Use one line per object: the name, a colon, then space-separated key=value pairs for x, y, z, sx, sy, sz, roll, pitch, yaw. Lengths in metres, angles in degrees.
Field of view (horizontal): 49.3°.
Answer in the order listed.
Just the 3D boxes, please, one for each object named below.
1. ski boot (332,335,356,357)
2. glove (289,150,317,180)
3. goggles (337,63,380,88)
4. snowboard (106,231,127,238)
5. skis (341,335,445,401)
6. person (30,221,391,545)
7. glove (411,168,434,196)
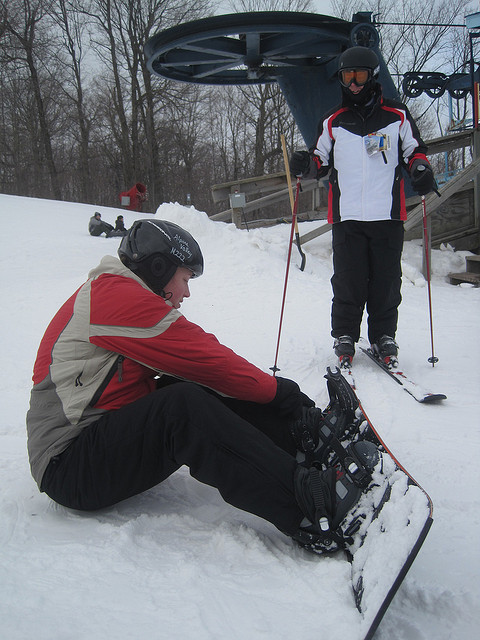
ski boot: x=0.619 y=0.154 z=3.078 sx=0.117 sy=0.125 sz=0.133 roll=2 pitch=12 yaw=10
glove: x=0.357 y=-0.875 z=2.945 sx=0.127 sy=0.177 sz=0.114 roll=10 pitch=25 yaw=36
goggles: x=0.639 y=-1.310 z=2.811 sx=0.208 sy=0.100 sz=0.112 roll=3 pitch=12 yaw=13
snowboard: x=-2.080 y=-1.406 z=8.612 sx=0.204 sy=0.055 sz=0.194 roll=-2 pitch=4 yaw=1
skis: x=0.832 y=0.270 z=2.863 sx=0.080 sy=0.034 sz=0.689 roll=-4 pitch=20 yaw=-7
person: x=-0.102 y=0.159 z=1.751 sx=1.105 sy=0.925 sz=0.800 roll=-2 pitch=0 yaw=-3
glove: x=0.959 y=-0.713 z=2.736 sx=0.098 sy=0.137 sz=0.077 roll=-15 pitch=-2 yaw=40
